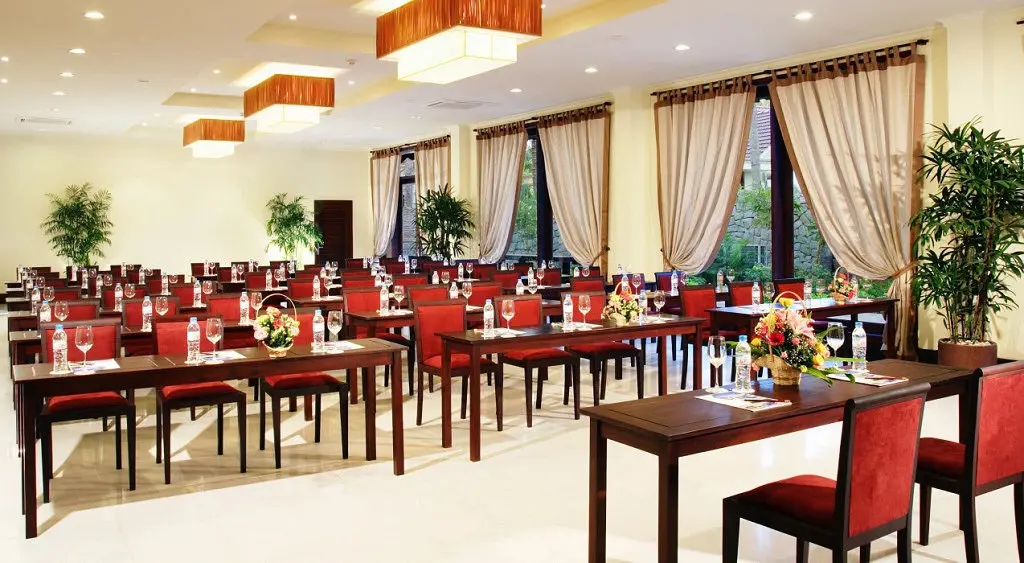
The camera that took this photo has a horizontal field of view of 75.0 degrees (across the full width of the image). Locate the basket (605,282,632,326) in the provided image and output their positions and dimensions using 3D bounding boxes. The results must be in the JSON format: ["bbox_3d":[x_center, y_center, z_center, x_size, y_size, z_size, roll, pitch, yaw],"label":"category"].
[{"bbox_3d":[1.258,0.252,7.906,0.371,0.529,0.256,2,-1,-24],"label":"basket"}]

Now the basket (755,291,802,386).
[{"bbox_3d":[2.383,0.522,5.805,0.595,0.693,0.699,3,6,24],"label":"basket"}]

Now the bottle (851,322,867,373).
[{"bbox_3d":[3.055,0.575,5.907,0.114,0.430,0.340,-4,3,26],"label":"bottle"}]

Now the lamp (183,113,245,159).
[{"bbox_3d":[-6.433,-3.092,14.567,0.967,0.630,1.255,-1,0,-27],"label":"lamp"}]

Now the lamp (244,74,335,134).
[{"bbox_3d":[-3.917,-3.150,11.727,1.486,0.842,0.830,-2,3,42],"label":"lamp"}]
